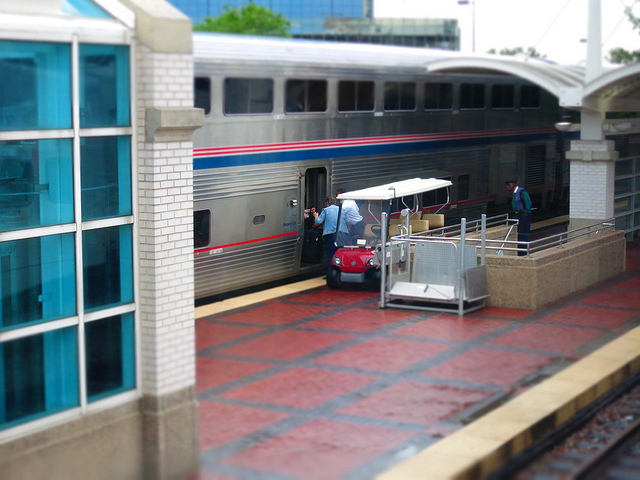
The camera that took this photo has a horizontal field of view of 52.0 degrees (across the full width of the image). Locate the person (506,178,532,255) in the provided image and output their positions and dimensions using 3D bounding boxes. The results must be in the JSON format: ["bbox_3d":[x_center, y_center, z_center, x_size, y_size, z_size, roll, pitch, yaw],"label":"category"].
[{"bbox_3d":[5.497,-0.789,18.076,0.583,1.642,0.567,3,10,35],"label":"person"}]

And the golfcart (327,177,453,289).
[{"bbox_3d":[2.523,-0.419,18.637,2.223,2.579,4.692,3,8,38],"label":"golfcart"}]
